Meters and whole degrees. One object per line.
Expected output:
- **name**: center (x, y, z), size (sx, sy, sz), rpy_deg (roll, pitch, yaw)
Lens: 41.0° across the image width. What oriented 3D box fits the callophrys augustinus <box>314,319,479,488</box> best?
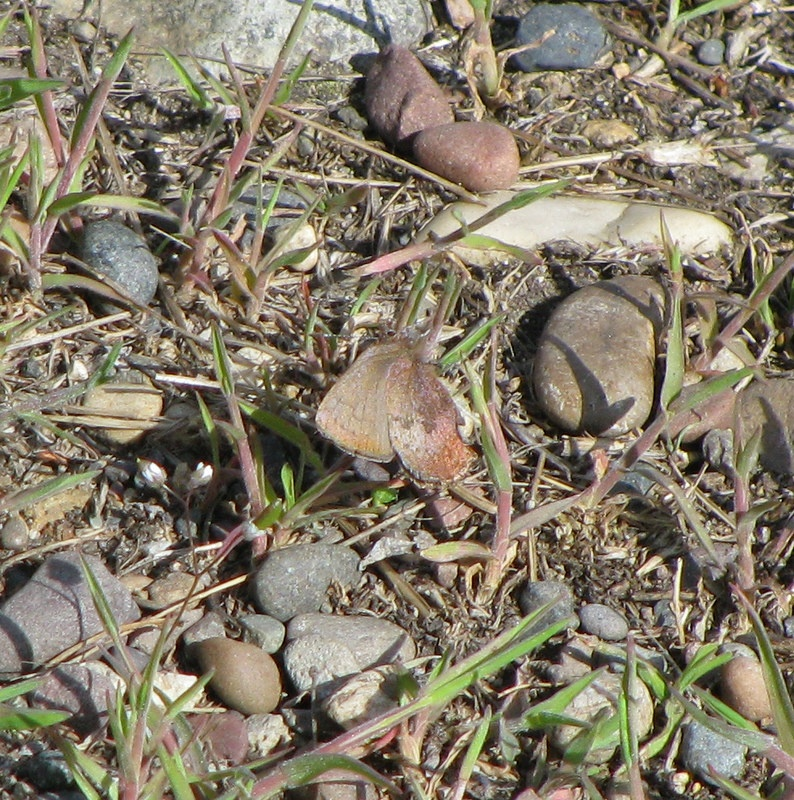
- **callophrys augustinus**: center (0.031, 0.011, 2.241), size (0.310, 0.147, 0.298), rpy_deg (21, 66, 11)
